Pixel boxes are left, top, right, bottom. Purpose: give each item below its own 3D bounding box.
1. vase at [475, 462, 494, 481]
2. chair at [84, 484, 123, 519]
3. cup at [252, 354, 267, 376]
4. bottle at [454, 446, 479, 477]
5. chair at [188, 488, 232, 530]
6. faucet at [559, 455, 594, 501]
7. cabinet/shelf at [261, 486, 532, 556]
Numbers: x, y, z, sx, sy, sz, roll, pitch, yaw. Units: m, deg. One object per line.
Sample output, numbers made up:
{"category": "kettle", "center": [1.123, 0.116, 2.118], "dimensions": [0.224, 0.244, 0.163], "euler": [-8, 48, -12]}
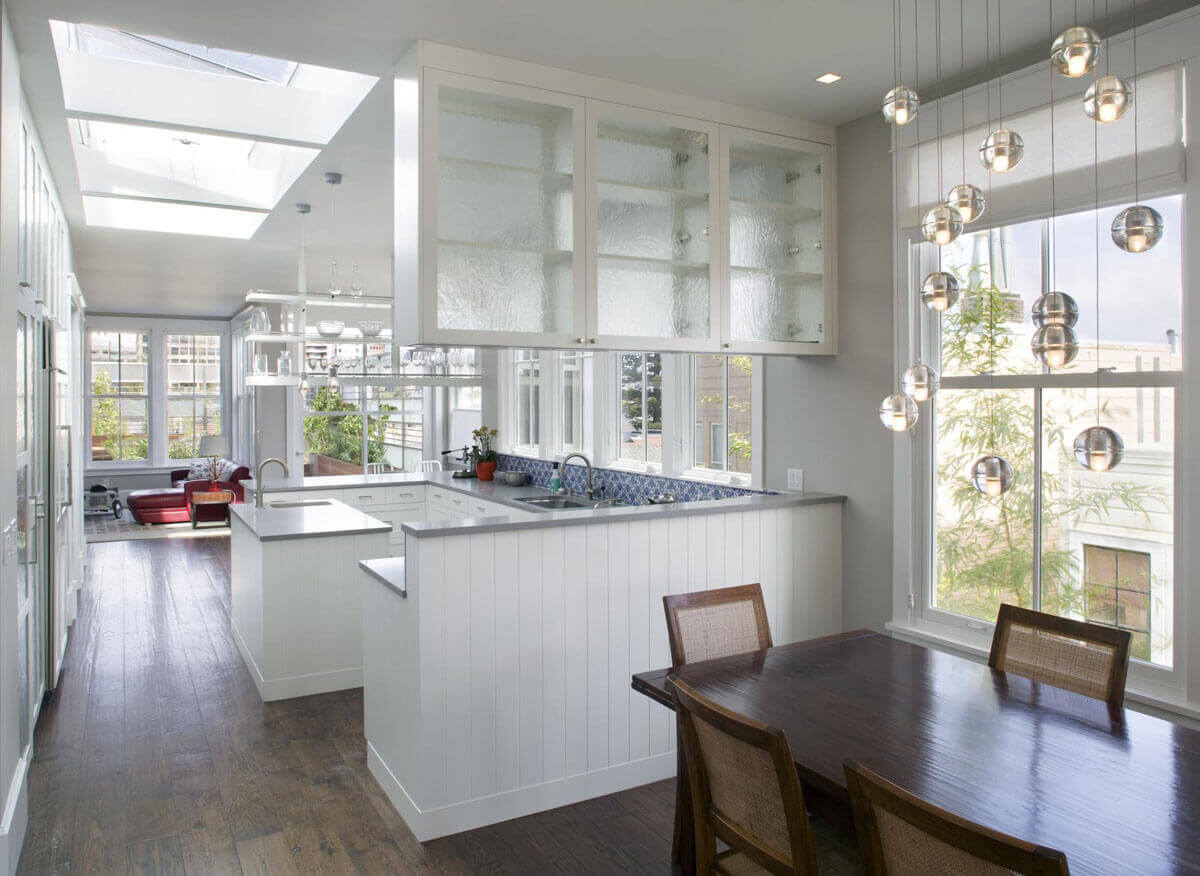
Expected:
{"category": "vase", "center": [-0.994, 0.287, 7.323], "dimensions": [0.152, 0.124, 0.153], "euler": [1, -2, 18]}
{"category": "chair", "center": [-7.040, 0.880, 11.947], "dimensions": [0.376, 0.327, 0.621], "euler": [1, -4, -24]}
{"category": "cup", "center": [-2.335, -0.515, 5.814], "dimensions": [0.085, 0.136, 0.148], "euler": [-5, 8, -35]}
{"category": "bottle", "center": [-1.199, 0.201, 7.647], "dimensions": [0.224, 0.236, 0.509], "euler": [-1, 7, -10]}
{"category": "chair", "center": [-4.981, 0.876, 10.746], "dimensions": [0.604, 0.598, 0.466], "euler": [1, -1, -33]}
{"category": "faucet", "center": [-0.161, 0.243, 6.328], "dimensions": [0.254, 0.351, 0.746], "euler": [0, 6, -3]}
{"category": "cabinet/shelf", "center": [-1.583, 0.683, 6.965], "dimensions": [1.837, 0.660, 0.972], "euler": [2, 7, 13]}
